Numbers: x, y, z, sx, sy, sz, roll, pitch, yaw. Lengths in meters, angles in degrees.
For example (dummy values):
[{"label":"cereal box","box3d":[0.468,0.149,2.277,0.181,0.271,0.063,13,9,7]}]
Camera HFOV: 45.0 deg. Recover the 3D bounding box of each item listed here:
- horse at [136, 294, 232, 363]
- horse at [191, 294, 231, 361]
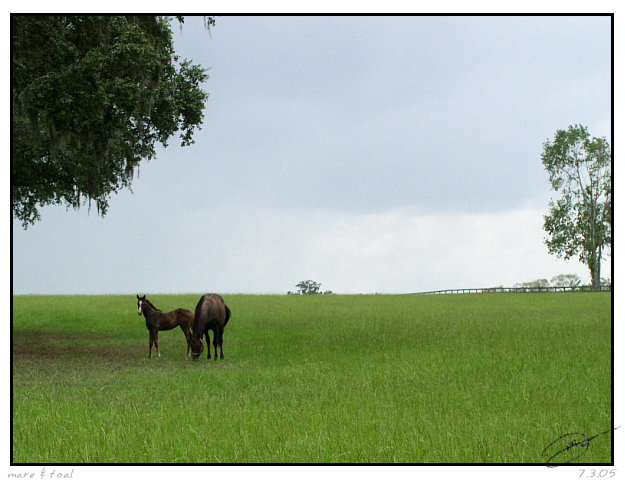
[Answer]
[{"label":"horse","box3d":[-6.437,4.541,38.922,4.126,3.208,2.791,0,5,-4]},{"label":"horse","box3d":[-5.435,4.456,39.983,1.216,3.461,5.589,4,9,6]}]
